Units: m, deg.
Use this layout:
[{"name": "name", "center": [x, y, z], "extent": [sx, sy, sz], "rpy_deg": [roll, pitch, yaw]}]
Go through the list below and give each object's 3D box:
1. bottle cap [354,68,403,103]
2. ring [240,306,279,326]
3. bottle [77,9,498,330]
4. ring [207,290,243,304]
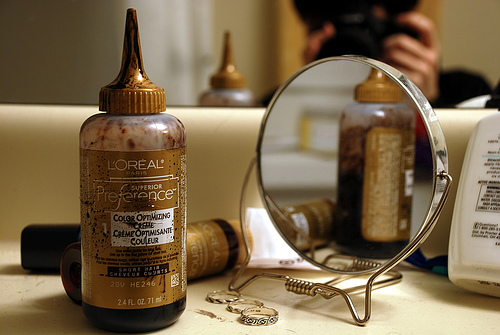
[{"name": "bottle cap", "center": [0.181, -0.115, 0.834], "extent": [0.045, 0.048, 0.045], "rpy_deg": [-3, 6, -23]}, {"name": "ring", "center": [0.011, 0.185, 0.742], "extent": [0.047, 0.011, 0.040], "rpy_deg": [-4, 11, -6]}, {"name": "bottle", "center": [0.034, -0.031, 0.914], "extent": [0.551, 0.386, 0.385], "rpy_deg": [-3, 7, -15]}, {"name": "ring", "center": [-0.033, 0.170, 0.788], "extent": [0.046, 0.010, 0.039], "rpy_deg": [-1, 11, 11]}]
